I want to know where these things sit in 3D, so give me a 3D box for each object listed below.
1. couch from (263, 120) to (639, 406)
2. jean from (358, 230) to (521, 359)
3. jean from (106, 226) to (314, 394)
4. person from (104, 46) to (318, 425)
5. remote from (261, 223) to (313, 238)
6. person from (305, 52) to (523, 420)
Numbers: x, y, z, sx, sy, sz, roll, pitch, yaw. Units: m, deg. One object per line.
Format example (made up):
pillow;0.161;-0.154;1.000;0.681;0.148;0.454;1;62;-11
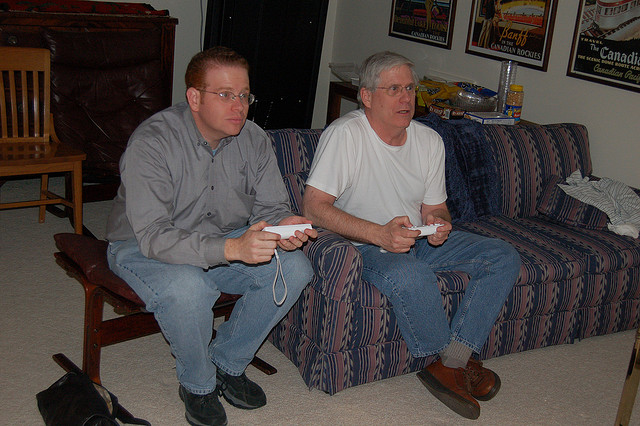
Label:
couch;0.676;0.316;2.587;1.381;0.742;0.656;-8;39;-24
jean;0.584;0.364;2.522;0.596;0.315;0.758;-11;33;-20
jean;-0.489;0.437;2.268;0.879;0.608;0.445;-6;20;-21
person;-0.483;0.086;2.210;0.900;1.587;0.693;-7;21;-25
remote;-0.140;0.078;2.087;0.236;0.053;0.060;-12;23;-35
person;0.493;0.055;2.494;1.044;1.651;0.634;10;20;23
